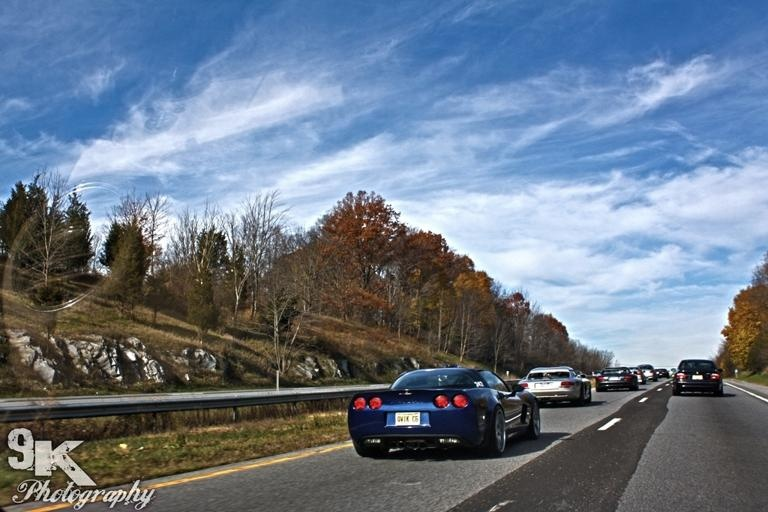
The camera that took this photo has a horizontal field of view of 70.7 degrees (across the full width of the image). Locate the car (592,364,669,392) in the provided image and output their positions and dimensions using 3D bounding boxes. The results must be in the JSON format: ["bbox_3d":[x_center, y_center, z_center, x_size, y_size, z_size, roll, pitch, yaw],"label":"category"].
[{"bbox_3d":[14.719,7.737,34.055,2.740,1.586,1.792,7,-10,-38],"label":"car"}]

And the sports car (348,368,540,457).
[{"bbox_3d":[1.475,3.227,11.375,4.195,1.731,1.834,7,-10,-35],"label":"sports car"}]

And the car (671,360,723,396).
[{"bbox_3d":[16.382,6.288,28.330,2.157,1.703,1.090,-2,-7,17],"label":"car"}]
